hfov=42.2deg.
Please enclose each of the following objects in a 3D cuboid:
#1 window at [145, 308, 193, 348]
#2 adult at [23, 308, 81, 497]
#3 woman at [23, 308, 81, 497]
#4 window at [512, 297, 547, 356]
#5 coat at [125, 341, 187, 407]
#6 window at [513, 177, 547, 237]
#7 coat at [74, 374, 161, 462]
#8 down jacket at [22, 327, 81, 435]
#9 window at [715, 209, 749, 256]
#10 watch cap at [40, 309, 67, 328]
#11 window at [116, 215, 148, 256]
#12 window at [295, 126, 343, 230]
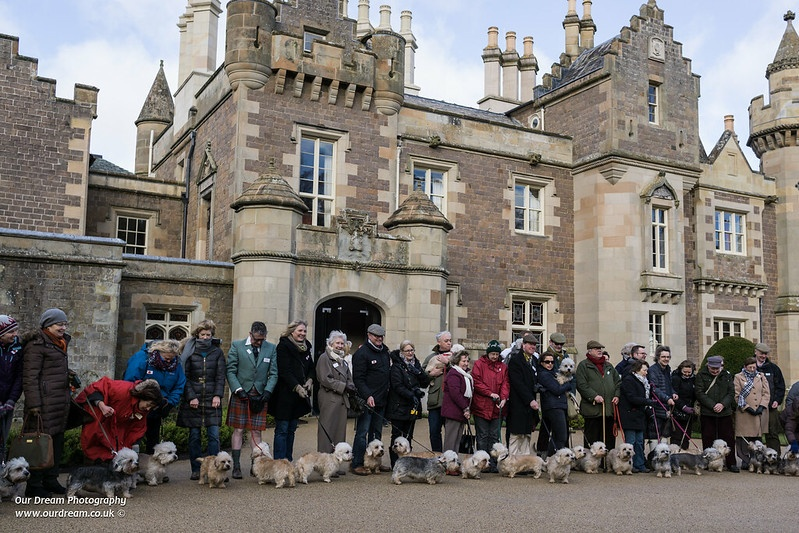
[{"bbox_3d":[-5.852,1.539,26.200,0.935,0.757,0.081,2,-9,-26],"label":"window"},{"bbox_3d":[-6.560,2.602,19.731,1.103,3.549,1.208,-1,-2,8],"label":"adult"},{"bbox_3d":[-6.636,2.629,19.703,1.010,3.420,1.168,-1,-3,22],"label":"woman"},{"bbox_3d":[3.703,1.724,29.835,1.672,1.837,0.218,5,-11,-30],"label":"window"},{"bbox_3d":[-4.713,2.151,20.301,1.093,1.152,0.731,16,-14,-32],"label":"coat"},{"bbox_3d":[4.171,-1.882,33.303,1.708,2.293,0.237,9,-19,-27],"label":"window"},{"bbox_3d":[-5.345,2.936,19.925,1.297,1.706,1.216,13,-16,37],"label":"coat"},{"bbox_3d":[-6.681,2.190,19.783,0.848,2.092,1.112,-3,-7,20],"label":"down jacket"},{"bbox_3d":[11.491,-1.152,36.058,1.481,1.670,0.162,7,-8,-30],"label":"window"},{"bbox_3d":[-6.559,0.966,19.733,0.442,0.325,0.378,-7,9,11],"label":"watch cap"},{"bbox_3d":[-8.144,-0.943,31.570,1.265,1.661,0.114,5,-16,-34],"label":"window"},{"bbox_3d":[-2.384,-2.527,30.087,1.116,2.573,0.396,7,-11,-25],"label":"window"}]
